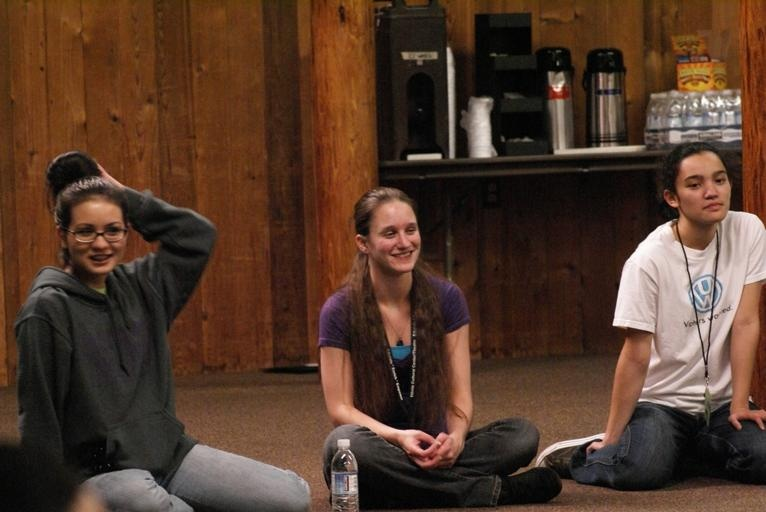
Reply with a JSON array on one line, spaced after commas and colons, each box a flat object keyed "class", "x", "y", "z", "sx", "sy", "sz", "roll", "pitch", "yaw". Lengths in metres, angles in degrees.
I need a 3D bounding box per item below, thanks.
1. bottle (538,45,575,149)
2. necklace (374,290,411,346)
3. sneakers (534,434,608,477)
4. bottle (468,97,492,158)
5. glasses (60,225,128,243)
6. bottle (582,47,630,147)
[{"class": "bottle", "x": 0.986, "y": -0.880, "z": 5.026, "sx": 0.202, "sy": 0.589, "sz": 0.191, "roll": -3, "pitch": 5, "yaw": 0}, {"class": "necklace", "x": 0.049, "y": 0.227, "z": 3.252, "sx": 0.117, "sy": 0.214, "sz": 0.049, "roll": 0, "pitch": -12, "yaw": -2}, {"class": "sneakers", "x": 0.756, "y": 0.782, "z": 3.485, "sx": 0.334, "sy": 0.136, "sz": 0.127, "roll": -12, "pitch": -43, "yaw": 45}, {"class": "bottle", "x": 0.556, "y": -0.723, "z": 5.019, "sx": 0.151, "sy": 0.333, "sz": 0.124, "roll": -3, "pitch": 5, "yaw": 6}, {"class": "glasses", "x": -0.928, "y": -0.068, "z": 2.885, "sx": 0.198, "sy": 0.054, "sz": 0.060, "roll": -5, "pitch": 5, "yaw": -22}, {"class": "bottle", "x": 1.275, "y": -0.897, "z": 5.096, "sx": 0.231, "sy": 0.549, "sz": 0.190, "roll": -2, "pitch": 5, "yaw": 14}]
